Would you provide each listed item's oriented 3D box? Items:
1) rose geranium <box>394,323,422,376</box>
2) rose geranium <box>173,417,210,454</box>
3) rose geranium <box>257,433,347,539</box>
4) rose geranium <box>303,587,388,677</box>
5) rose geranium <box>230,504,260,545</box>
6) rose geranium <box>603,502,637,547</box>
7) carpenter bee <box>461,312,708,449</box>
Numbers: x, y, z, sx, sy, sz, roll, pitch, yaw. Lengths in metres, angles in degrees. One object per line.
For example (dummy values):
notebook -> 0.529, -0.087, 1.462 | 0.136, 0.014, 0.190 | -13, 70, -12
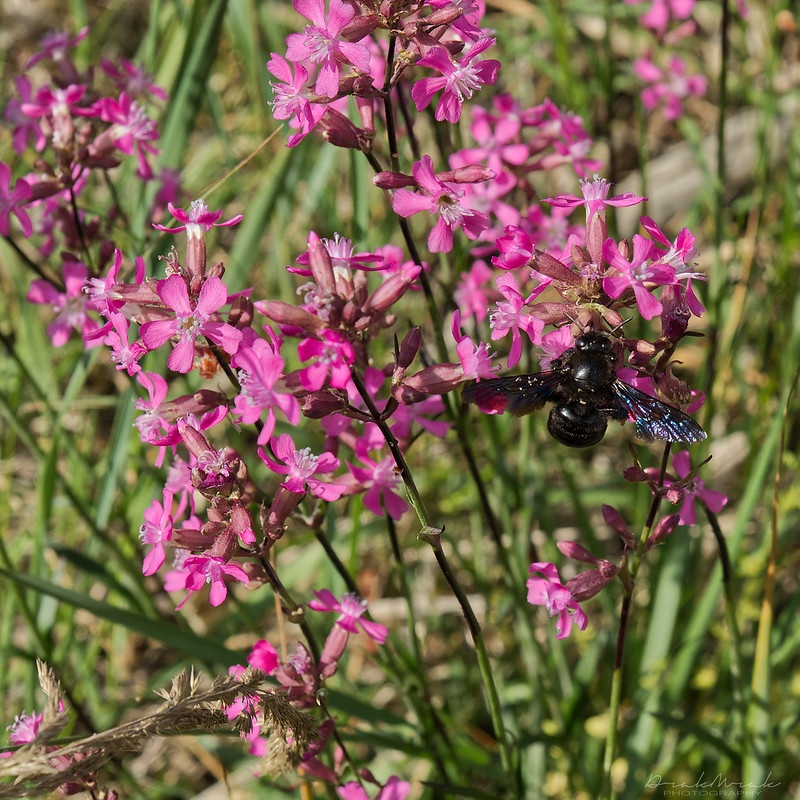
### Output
rose geranium -> 0.012, -0.137, 3.054 | 0.046, 0.043, 0.151 | 35, 98, 16
rose geranium -> -0.549, 0.102, 3.005 | 0.136, 0.050, 0.045 | 48, 111, 15
rose geranium -> -0.299, 0.272, 3.005 | 0.246, 0.248, 0.257 | 27, 98, 1
rose geranium -> -0.162, 0.676, 3.284 | 0.220, 0.239, 0.280 | -19, 47, -7
rose geranium -> -0.414, 0.327, 2.938 | 0.045, 0.047, 0.123 | -32, 66, 18
rose geranium -> 0.625, 0.347, 3.139 | 0.056, 0.048, 0.173 | -20, 37, -7
carpenter bee -> 0.530, -0.014, 3.331 | 0.528, 0.415, 0.393 | 6, 69, -17
